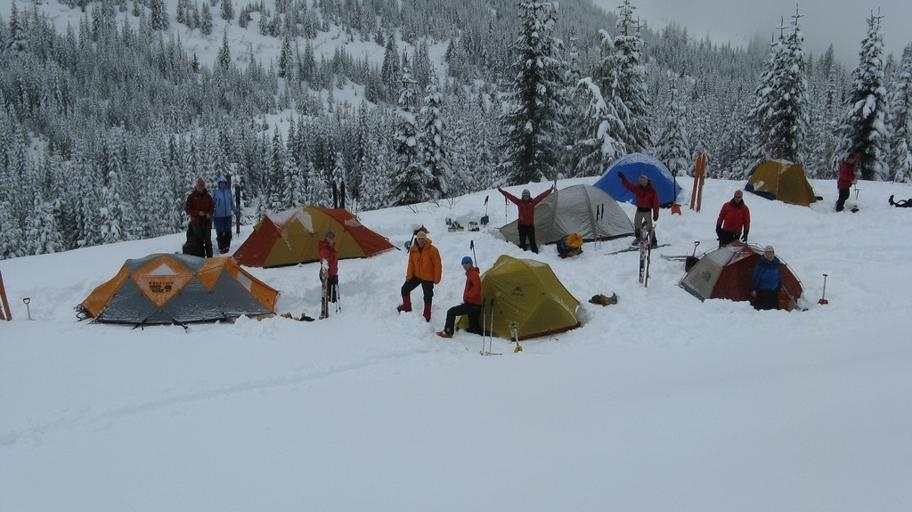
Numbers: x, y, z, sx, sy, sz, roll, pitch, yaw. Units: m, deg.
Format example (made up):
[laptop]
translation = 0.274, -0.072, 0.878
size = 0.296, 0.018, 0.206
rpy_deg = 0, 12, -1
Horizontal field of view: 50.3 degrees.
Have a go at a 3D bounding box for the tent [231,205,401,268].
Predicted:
[tent]
translation = -21.279, -4.120, 154.255
size = 19.958, 6.903, 14.820
rpy_deg = -5, 13, 13
